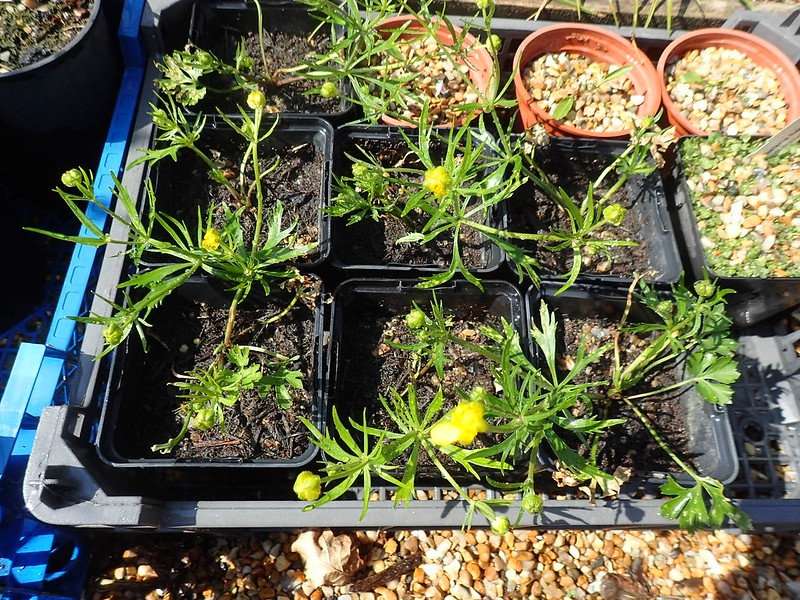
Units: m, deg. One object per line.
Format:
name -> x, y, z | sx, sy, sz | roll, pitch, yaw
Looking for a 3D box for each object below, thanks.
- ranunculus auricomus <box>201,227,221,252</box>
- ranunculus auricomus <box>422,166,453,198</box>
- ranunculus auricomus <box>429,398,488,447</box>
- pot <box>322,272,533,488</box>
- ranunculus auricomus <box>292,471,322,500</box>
ranunculus auricomus -> -0.567, -0.175, 1.747 | 0.070, 0.027, 0.068 | -2, 90, -8
ranunculus auricomus -> 0.098, -0.305, 1.559 | 0.082, 0.035, 0.073 | -16, 93, -8
ranunculus auricomus -> 0.132, 0.300, 1.418 | 0.142, 0.065, 0.079 | -30, 84, 23
pot -> 0.010, 0.189, 1.968 | 0.680, 0.223, 0.628 | 1, 95, 7
ranunculus auricomus -> -0.247, 0.499, 1.591 | 0.101, 0.075, 0.078 | -13, 70, 29
